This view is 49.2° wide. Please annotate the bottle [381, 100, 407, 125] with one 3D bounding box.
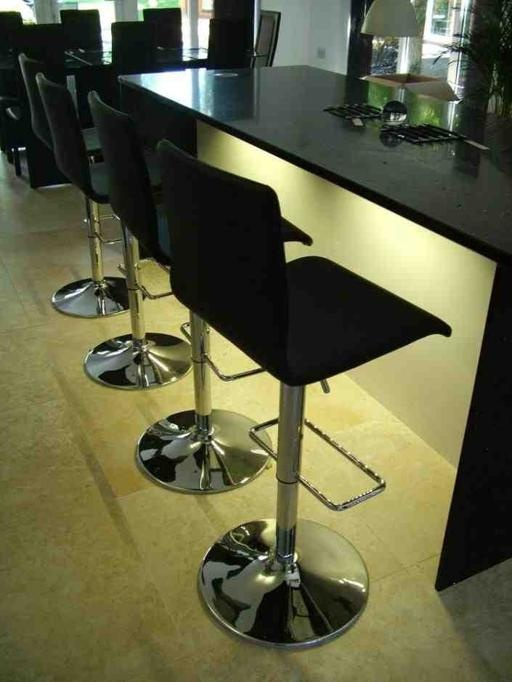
[{"bbox_3d":[0.369,-0.615,1.498,0.068,0.069,0.060,14,32,33],"label":"bottle"}]
